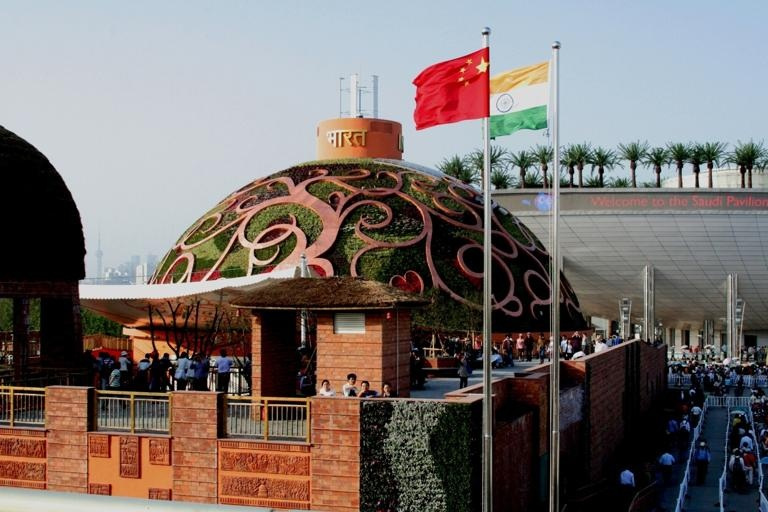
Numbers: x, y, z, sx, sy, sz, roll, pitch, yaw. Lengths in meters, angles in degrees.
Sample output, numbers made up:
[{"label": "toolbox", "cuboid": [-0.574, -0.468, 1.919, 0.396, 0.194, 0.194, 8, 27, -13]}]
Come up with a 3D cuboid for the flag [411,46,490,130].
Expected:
[{"label": "flag", "cuboid": [2.452, -5.855, 47.089, 2.593, 2.646, 0.352, -2, -6, 13]}]
